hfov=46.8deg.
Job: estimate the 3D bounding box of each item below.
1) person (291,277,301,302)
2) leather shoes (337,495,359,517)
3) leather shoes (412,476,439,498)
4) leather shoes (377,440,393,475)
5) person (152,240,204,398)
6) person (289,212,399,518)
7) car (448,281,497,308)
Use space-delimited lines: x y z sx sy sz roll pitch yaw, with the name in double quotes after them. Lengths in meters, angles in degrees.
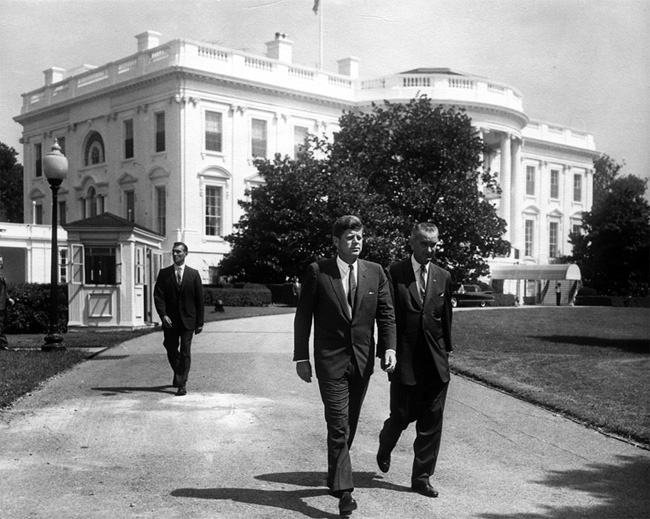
-1.406 1.391 34.597 0.408 1.587 0.753 -5 -9 3 "person"
0.196 2.071 6.359 0.174 0.171 0.187 1 -1 -10 "leather shoes"
0.904 2.118 6.950 0.101 0.144 0.299 3 -9 -33 "leather shoes"
0.580 1.931 7.392 0.102 0.368 0.140 -2 7 -13 "leather shoes"
-2.264 0.875 11.601 0.742 2.278 1.033 1 -1 -13 "person"
0.221 0.828 6.961 0.853 2.434 0.775 1 -1 -38 "person"
8.325 2.060 42.561 3.108 1.395 2.079 -1 4 -6 "car"
